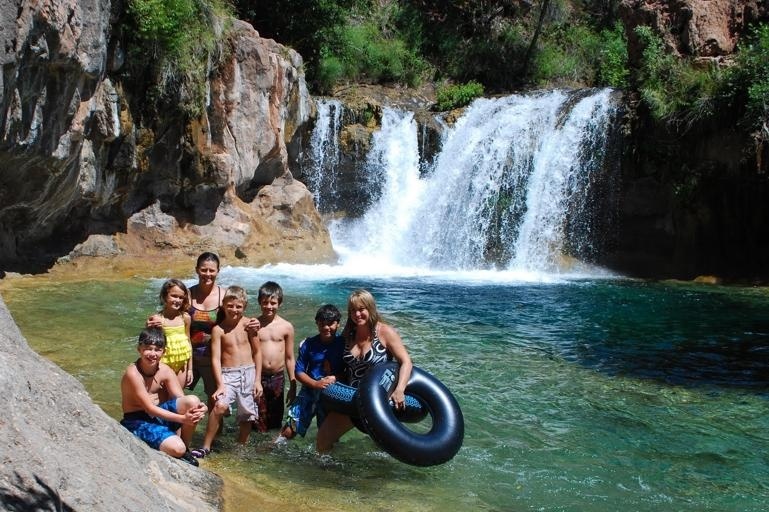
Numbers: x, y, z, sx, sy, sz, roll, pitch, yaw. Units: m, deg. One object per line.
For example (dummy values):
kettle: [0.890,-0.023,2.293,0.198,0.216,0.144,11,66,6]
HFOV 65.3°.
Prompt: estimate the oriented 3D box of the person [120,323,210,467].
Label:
person: [-2.145,1.357,5.866,0.786,0.891,0.487,5,2,25]

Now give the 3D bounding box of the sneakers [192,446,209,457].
sneakers: [-1.879,1.991,6.144,0.073,0.074,0.176,-15,-7,24]

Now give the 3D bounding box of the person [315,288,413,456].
person: [-0.285,1.298,6.288,1.109,1.996,1.108,0,-25,0]

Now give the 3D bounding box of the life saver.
life saver: [0.253,1.558,5.978,1.066,0.851,0.427,4,1,-4]

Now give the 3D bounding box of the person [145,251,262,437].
person: [-2.056,1.003,6.644,1.098,1.957,0.687,6,7,-32]

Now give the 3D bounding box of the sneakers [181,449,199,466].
sneakers: [-1.897,1.954,5.844,0.226,0.104,0.086,7,10,41]
